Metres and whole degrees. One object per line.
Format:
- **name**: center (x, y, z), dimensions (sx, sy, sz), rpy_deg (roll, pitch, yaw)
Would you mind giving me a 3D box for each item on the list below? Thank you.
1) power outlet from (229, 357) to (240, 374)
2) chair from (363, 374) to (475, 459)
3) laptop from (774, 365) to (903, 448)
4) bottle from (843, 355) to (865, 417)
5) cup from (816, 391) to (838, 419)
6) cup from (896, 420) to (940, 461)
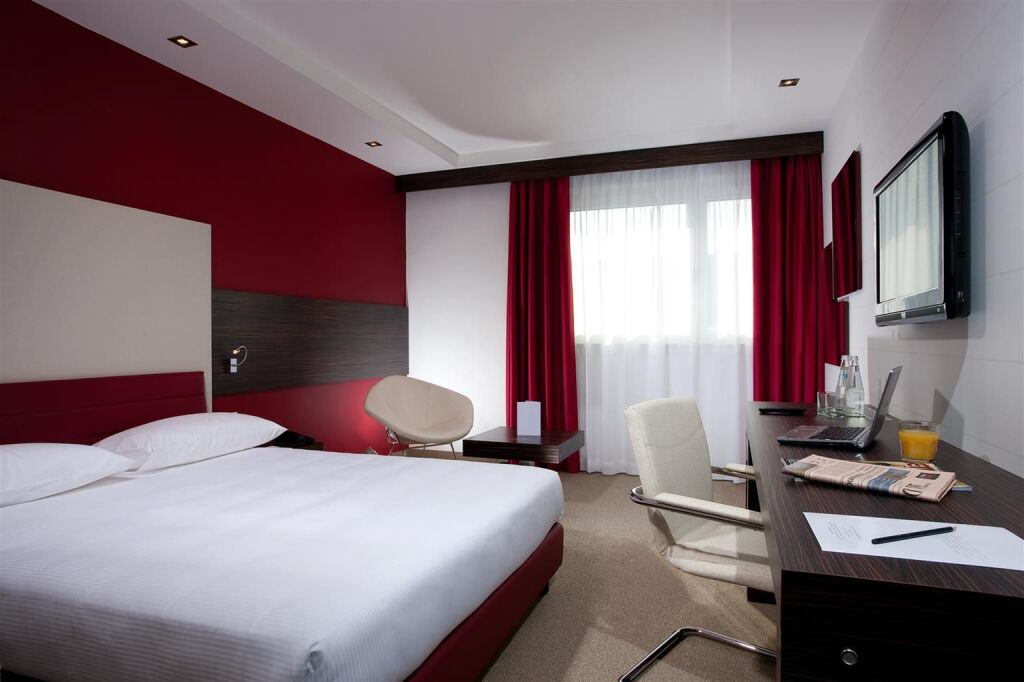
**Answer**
- **power outlet**: center (-2.090, 0.181, 4.797), dimensions (0.076, 0.152, 0.079), rpy_deg (-5, -5, 35)
- **chair**: center (-0.832, 0.807, 5.825), dimensions (0.914, 0.950, 0.846), rpy_deg (-2, 6, -13)
- **laptop**: center (1.520, 0.284, 3.001), dimensions (0.434, 0.320, 0.509), rpy_deg (-4, -2, 28)
- **bottle**: center (1.942, 0.254, 3.651), dimensions (0.160, 0.333, 0.163), rpy_deg (2, -3, 0)
- **cup**: center (1.799, 0.367, 3.665), dimensions (0.125, 0.127, 0.129), rpy_deg (0, -2, 0)
- **cup**: center (1.718, 0.412, 2.733), dimensions (0.155, 0.196, 0.160), rpy_deg (-1, -2, 0)
